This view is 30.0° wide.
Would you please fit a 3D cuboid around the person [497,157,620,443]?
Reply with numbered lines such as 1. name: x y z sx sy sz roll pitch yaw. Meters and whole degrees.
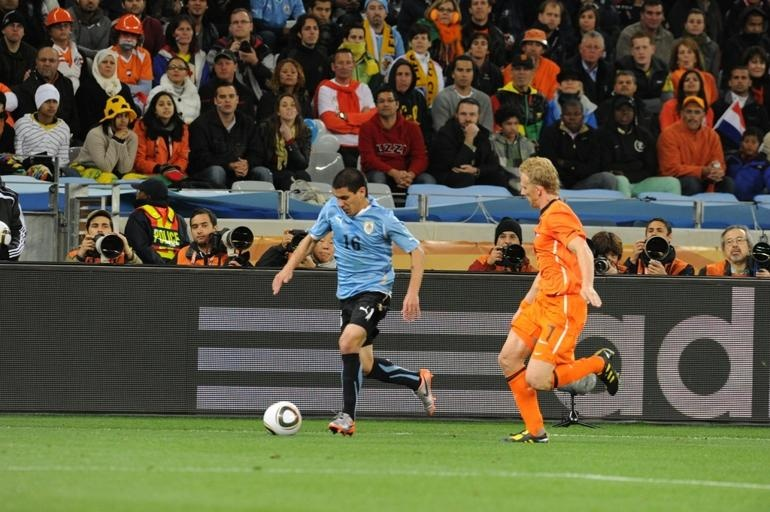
1. person: 1.798 0.477 15.434 1.144 3.036 0.802 0 6 8

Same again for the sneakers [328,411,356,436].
1. sneakers: -0.471 1.827 15.440 0.271 0.280 0.271 -1 6 -4

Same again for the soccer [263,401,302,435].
1. soccer: -1.102 1.764 15.465 0.381 0.375 0.346 -2 -5 -9

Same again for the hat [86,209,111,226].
1. hat: -3.457 -0.449 17.267 0.299 0.184 0.221 -1 6 -3

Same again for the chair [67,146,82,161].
1. chair: -4.288 -1.399 19.883 0.177 0.211 0.219 2 -25 0

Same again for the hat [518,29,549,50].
1. hat: 2.492 -3.548 23.558 0.306 0.191 0.376 4 5 38

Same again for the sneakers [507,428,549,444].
1. sneakers: 1.524 1.956 15.462 0.465 0.182 0.157 2 -2 2

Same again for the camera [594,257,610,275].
1. camera: 2.560 0.125 16.942 0.206 0.207 0.201 3 5 13

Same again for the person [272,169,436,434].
1. person: -0.261 0.508 15.703 1.583 2.896 1.025 -1 6 1

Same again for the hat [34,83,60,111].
1. hat: -4.784 -2.268 20.286 0.306 0.340 0.395 1 4 -25

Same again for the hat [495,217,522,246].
1. hat: 1.508 -0.323 17.523 0.284 0.316 0.341 2 -11 2

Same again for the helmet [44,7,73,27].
1. helmet: -4.930 -3.590 21.565 0.315 0.184 0.400 -2 11 -25

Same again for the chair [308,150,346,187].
1. chair: -0.906 -1.244 20.882 0.471 0.696 0.483 0 6 -5

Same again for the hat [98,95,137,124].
1. hat: -3.699 -2.027 19.869 0.396 0.234 0.391 -9 -3 -14

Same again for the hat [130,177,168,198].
1. hat: -2.931 -0.850 18.048 0.364 0.227 0.299 -1 6 -4

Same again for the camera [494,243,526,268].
1. camera: 1.473 0.009 16.812 0.334 0.263 0.333 4 0 6

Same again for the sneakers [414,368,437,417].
1. sneakers: 0.441 1.533 16.123 0.253 0.529 0.190 -25 21 -32
